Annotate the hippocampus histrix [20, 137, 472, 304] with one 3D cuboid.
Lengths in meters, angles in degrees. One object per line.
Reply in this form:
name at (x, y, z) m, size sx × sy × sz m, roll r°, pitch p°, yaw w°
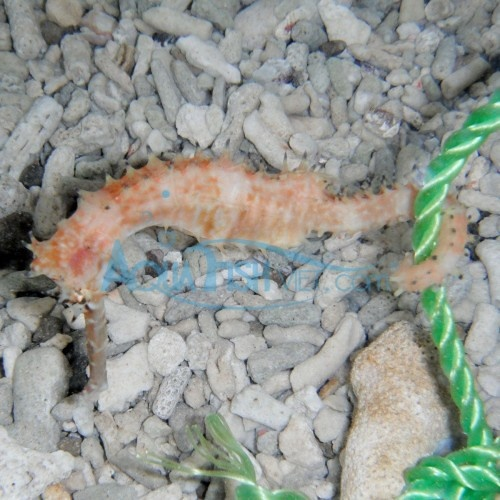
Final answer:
hippocampus histrix at (-0.006, -0.029, 1.058) m, size 0.672 × 0.287 × 0.224 m, roll -2°, pitch -60°, yaw -9°
